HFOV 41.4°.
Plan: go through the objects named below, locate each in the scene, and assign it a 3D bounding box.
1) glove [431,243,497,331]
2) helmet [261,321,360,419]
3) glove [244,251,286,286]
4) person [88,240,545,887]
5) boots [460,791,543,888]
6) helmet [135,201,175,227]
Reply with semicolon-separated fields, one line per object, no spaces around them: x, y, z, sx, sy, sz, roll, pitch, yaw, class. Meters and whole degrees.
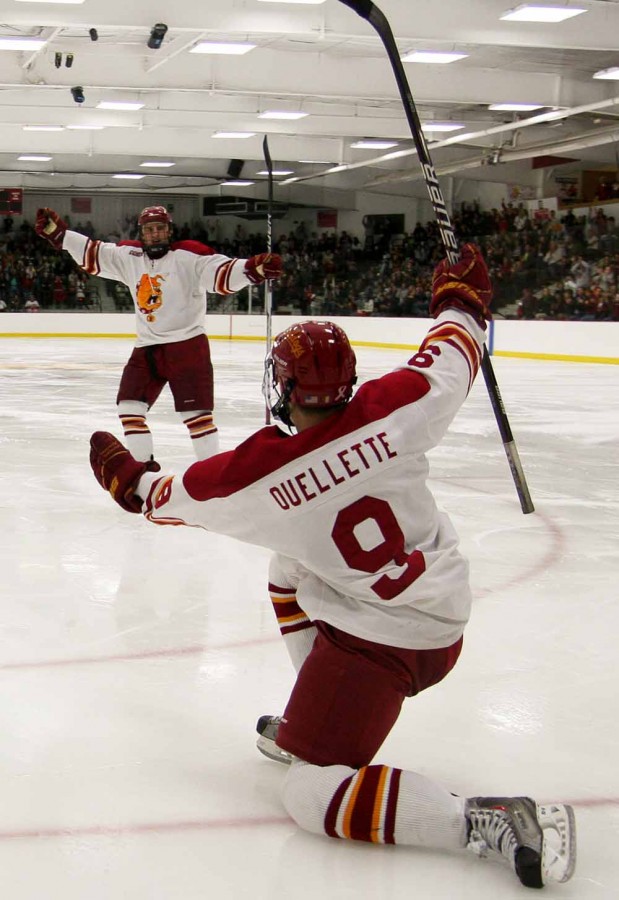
0.361;-0.374;1.898;0.169;0.186;0.082;-6;-14;31;glove
0.004;-0.144;1.528;0.163;0.167;0.192;-6;16;-18;helmet
-0.247;-0.975;4.389;0.165;0.186;0.206;-8;31;-32;glove
0.144;0.155;1.677;0.723;1.007;1.077;-9;20;-34;person
0.306;0.610;1.315;0.085;0.056;0.181;-8;7;-9;boots
-0.826;-1.255;4.370;0.156;0.112;0.183;-1;7;-11;helmet
